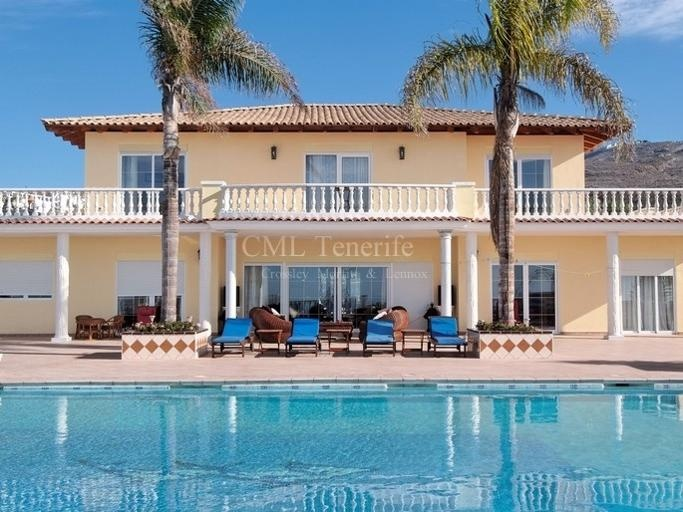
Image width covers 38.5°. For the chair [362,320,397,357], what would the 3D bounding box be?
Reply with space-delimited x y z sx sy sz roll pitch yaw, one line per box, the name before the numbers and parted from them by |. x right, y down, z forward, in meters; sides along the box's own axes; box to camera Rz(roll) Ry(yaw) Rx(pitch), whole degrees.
chair | 1.165 2.354 29.523 0.751 0.754 1.143 0 -7 4

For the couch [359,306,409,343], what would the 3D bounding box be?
couch | 1.499 2.173 31.503 1.254 1.085 1.068 3 -11 -4

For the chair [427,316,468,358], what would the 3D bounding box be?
chair | 3.184 2.404 29.766 1.033 1.098 1.464 0 1 -8

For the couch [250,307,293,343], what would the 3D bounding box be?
couch | -2.195 2.234 31.103 1.050 1.022 1.152 -5 2 -15

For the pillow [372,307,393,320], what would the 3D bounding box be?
pillow | 1.370 1.957 31.650 0.465 0.154 0.414 -28 16 -16

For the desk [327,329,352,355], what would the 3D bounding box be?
desk | -0.060 2.796 32.019 0.713 0.705 0.709 0 -11 3

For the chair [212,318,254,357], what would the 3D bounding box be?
chair | -3.303 2.361 29.661 0.827 0.848 1.376 -1 -7 3

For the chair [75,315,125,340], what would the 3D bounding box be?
chair | -8.356 2.499 33.970 0.923 0.613 1.230 -1 -5 5
